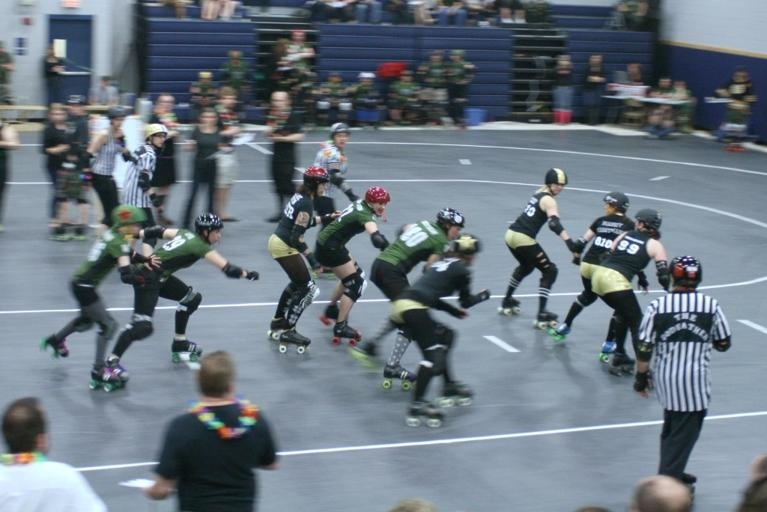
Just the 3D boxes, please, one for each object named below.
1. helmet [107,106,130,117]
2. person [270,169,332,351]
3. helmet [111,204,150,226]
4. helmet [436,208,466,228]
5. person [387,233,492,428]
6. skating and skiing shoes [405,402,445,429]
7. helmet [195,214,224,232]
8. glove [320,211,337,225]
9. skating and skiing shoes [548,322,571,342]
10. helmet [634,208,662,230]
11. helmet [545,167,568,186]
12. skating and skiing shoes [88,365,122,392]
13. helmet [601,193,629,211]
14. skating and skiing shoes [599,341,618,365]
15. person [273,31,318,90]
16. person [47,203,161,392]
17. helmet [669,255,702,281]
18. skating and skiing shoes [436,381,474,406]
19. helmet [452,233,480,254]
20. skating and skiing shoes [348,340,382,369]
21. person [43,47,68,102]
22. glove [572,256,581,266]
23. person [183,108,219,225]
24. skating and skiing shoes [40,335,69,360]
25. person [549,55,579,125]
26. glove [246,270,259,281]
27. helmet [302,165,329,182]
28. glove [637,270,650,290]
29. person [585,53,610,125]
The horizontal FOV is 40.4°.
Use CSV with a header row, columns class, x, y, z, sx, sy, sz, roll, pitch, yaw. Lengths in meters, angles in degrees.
class,x,y,z,sx,sy,sz,roll,pitch,yaw
helmet,-4.831,-2.634,19.037,0.330,0.208,0.532,-1,8,-16
person,-1.272,0.052,15.798,0.873,2.686,1.068,3,10,4
helmet,-3.474,-0.548,14.239,0.416,0.257,0.292,10,15,18
helmet,0.932,-0.527,14.867,0.443,0.256,0.289,9,21,11
person,0.740,0.987,14.077,1.061,2.499,0.811,-2,11,-26
skating and skiing shoes,0.548,2.124,13.906,0.523,0.262,0.293,-3,11,3
helmet,-2.453,-0.468,14.678,0.363,0.260,0.249,-6,8,-3
glove,-0.858,-0.595,16.261,0.189,0.118,0.520,-24,3,-12
skating and skiing shoes,2.714,1.159,16.150,0.393,0.235,0.155,-5,44,10
helmet,3.803,-0.530,15.087,0.300,0.268,0.412,-10,6,-40
helmet,2.759,-1.251,16.619,0.289,0.249,0.242,1,9,-6
skating and skiing shoes,-3.792,1.700,14.289,0.516,0.213,0.266,2,22,13
helmet,3.505,-0.842,15.866,0.306,0.185,0.398,8,12,-32
skating and skiing shoes,3.349,1.438,15.631,0.151,0.256,0.417,13,30,32
person,-2.643,-5.729,30.470,1.080,1.763,1.275,1,9,-6
person,-3.924,0.540,14.526,1.049,2.532,1.116,-6,13,-40
helmet,3.640,0.145,12.642,0.316,0.239,0.358,1,15,-2
skating and skiing shoes,0.977,1.904,14.429,0.545,0.215,0.273,-11,21,-2
helmet,1.128,-0.168,14.163,0.381,0.244,0.247,7,8,2
skating and skiing shoes,-0.249,1.426,15.410,0.324,0.149,0.492,26,2,-2
person,-9.503,-5.237,30.056,0.569,1.636,1.346,-1,9,-17
glove,3.087,0.074,16.695,0.110,0.131,0.089,-31,59,-11
person,-3.555,-1.719,20.273,0.693,2.276,1.497,1,9,-10
skating and skiing shoes,-4.631,1.295,14.880,0.285,0.173,0.573,-13,-25,14
person,5.862,-5.431,33.878,0.722,2.229,1.325,4,10,8
glove,-1.865,0.303,14.772,0.232,0.128,0.553,-6,-1,-10
helmet,-1.042,-1.223,16.162,0.404,0.312,0.268,-5,42,-5
glove,3.906,0.353,15.632,0.247,0.104,0.361,-21,-29,1
person,6.782,-5.363,33.633,0.755,2.153,1.393,4,10,11
